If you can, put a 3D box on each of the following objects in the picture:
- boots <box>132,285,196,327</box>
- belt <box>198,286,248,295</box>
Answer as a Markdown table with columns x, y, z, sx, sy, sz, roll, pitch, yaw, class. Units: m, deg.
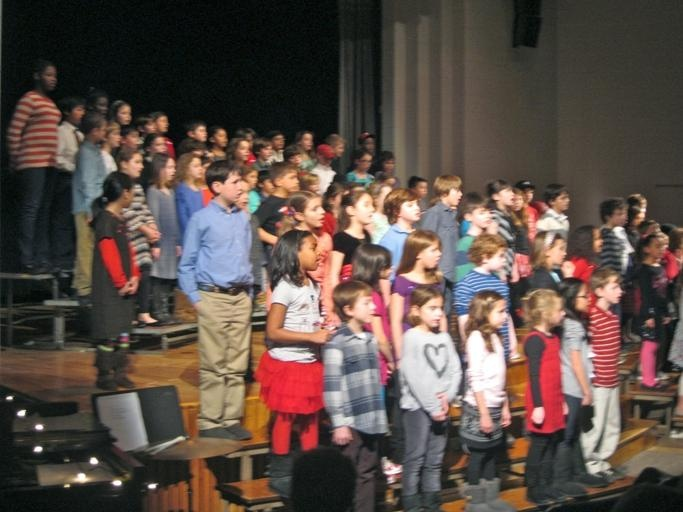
| x | y | z | sx | sy | sz | roll | pitch | yaw | class |
| --- | --- | --- | --- | --- | --- | --- | --- | --- | --- |
| -1.440 | 0.408 | 6.927 | 0.587 | 0.412 | 0.235 | 1 | 2 | -7 | boots |
| -0.790 | 0.234 | 5.588 | 0.331 | 0.063 | 0.090 | 2 | -2 | -36 | belt |
